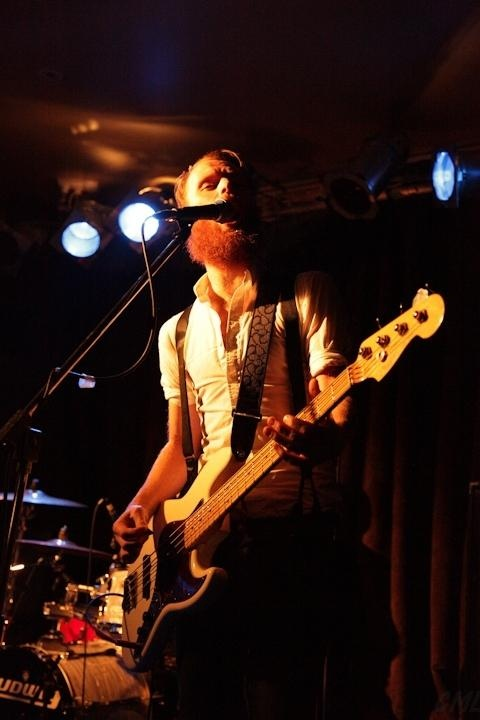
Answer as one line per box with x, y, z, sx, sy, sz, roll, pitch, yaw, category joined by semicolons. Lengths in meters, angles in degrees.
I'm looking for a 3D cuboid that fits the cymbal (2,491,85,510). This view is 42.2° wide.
-0.988;0.689;3.102;0.400;0.087;0.569;9;-17;-15;cymbal

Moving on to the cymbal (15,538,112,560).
-0.822;0.852;2.833;0.266;0.065;0.270;26;-22;-25;cymbal

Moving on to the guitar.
0.170;0.401;2.003;0.168;0.512;1.552;22;-57;-27;guitar

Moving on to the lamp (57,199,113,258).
-0.794;-0.674;3.194;0.280;0.279;0.168;7;-15;-10;lamp
